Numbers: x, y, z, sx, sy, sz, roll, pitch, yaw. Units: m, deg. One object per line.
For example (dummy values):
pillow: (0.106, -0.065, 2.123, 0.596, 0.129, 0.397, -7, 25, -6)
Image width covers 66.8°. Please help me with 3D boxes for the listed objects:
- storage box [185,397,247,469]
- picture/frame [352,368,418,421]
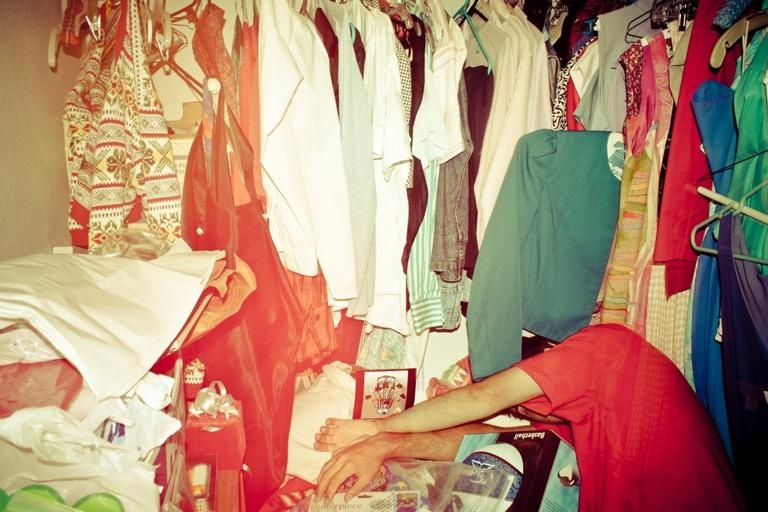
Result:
storage box: (-0.522, 0.548, 1.831, 0.155, 0.143, 0.165, -1, 0, -4)
picture/frame: (0.004, 0.461, 1.943, 0.144, 0.136, 0.020, -5, 11, -20)
